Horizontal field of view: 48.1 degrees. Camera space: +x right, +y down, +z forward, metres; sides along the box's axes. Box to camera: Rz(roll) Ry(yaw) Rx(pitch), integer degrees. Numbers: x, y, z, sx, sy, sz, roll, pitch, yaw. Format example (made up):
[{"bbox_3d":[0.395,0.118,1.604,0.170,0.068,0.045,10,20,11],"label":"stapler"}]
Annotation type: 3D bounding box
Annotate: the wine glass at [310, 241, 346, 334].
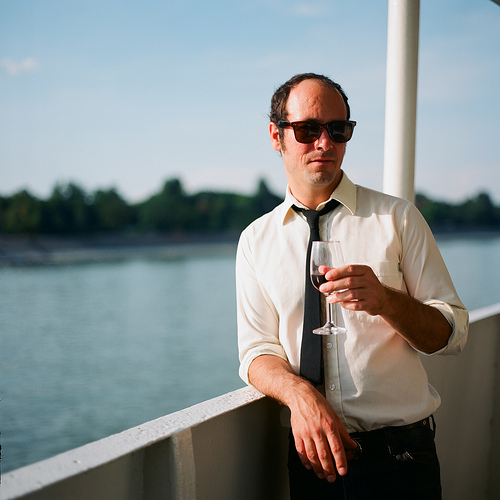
[{"bbox_3d":[0.256,0.129,1.851,0.110,0.310,0.221,-1,3,7],"label":"wine glass"}]
